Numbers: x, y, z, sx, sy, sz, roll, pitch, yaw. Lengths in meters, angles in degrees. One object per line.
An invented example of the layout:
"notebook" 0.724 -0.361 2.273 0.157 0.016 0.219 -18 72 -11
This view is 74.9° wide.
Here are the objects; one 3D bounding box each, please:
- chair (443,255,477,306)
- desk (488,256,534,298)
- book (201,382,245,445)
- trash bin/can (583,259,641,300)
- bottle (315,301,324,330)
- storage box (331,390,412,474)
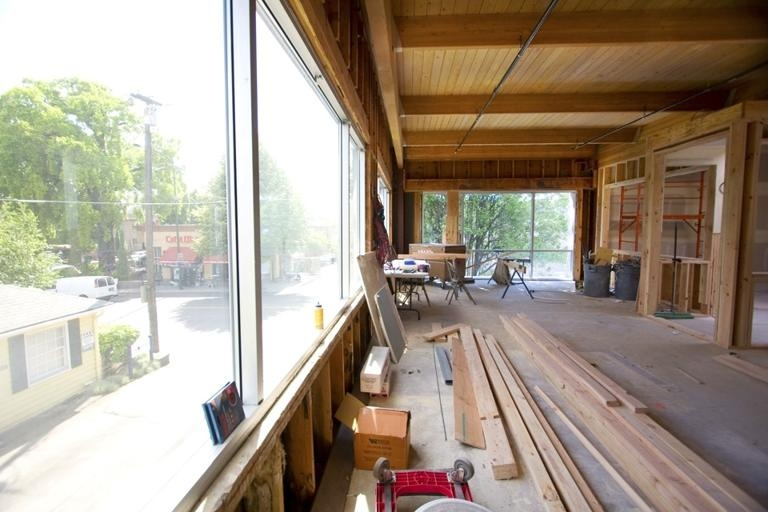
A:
"chair" 1.363 0.416 9.000 0.513 0.703 0.439 5 5 8
"desk" 2.667 0.336 10.688 0.857 0.645 3.272 0 4 12
"book" -0.806 0.794 2.495 0.100 0.251 0.270 -16 1 13
"trash bin/can" 4.090 0.403 9.121 0.357 0.694 1.134 -4 5 -33
"bottle" -0.495 0.449 3.784 0.062 0.197 0.067 -1 5 0
"storage box" -0.072 1.266 3.585 0.529 0.354 0.341 -1 2 10
